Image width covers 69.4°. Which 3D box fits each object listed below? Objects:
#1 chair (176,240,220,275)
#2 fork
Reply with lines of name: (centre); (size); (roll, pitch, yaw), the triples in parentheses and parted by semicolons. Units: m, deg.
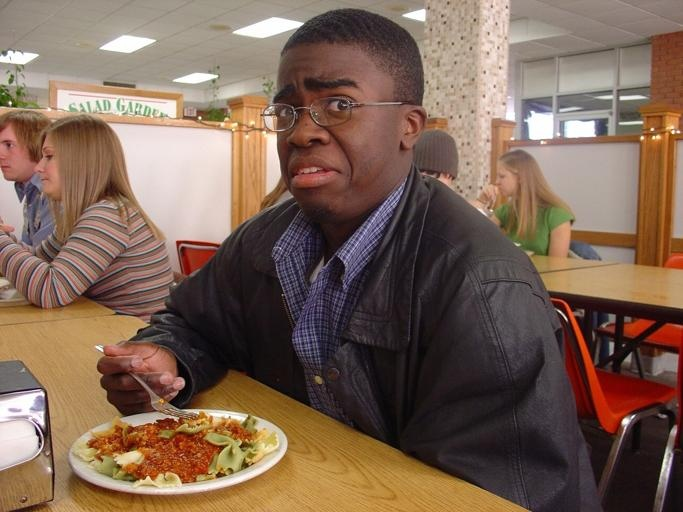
chair: (-0.875, 0.000, 2.960); (0.176, 0.201, 0.223); (-15, 56, -22)
fork: (-0.413, 0.213, 1.040); (0.053, 0.043, 0.385); (-21, 34, -33)
